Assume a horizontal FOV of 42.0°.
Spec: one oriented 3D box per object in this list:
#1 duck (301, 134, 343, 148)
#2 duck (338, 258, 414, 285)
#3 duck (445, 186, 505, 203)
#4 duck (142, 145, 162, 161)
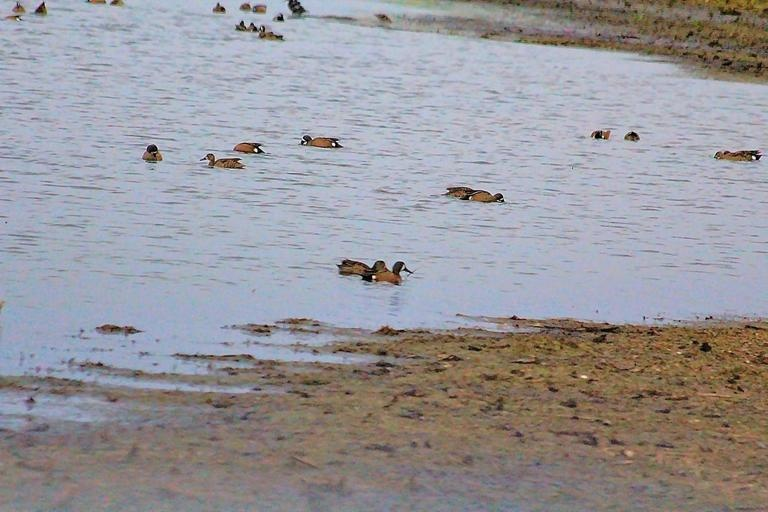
[{"bbox_3d":[-2.728,-4.284,37.839,2.130,0.499,0.537,2,1,15],"label":"duck"},{"bbox_3d":[-0.281,0.377,25.913,1.895,0.444,0.849,5,22,-1],"label":"duck"},{"bbox_3d":[2.977,-2.006,33.204,2.180,0.501,0.588,11,10,9],"label":"duck"},{"bbox_3d":[-7.947,-3.513,33.968,0.744,0.464,0.642,-2,50,-11],"label":"duck"}]
